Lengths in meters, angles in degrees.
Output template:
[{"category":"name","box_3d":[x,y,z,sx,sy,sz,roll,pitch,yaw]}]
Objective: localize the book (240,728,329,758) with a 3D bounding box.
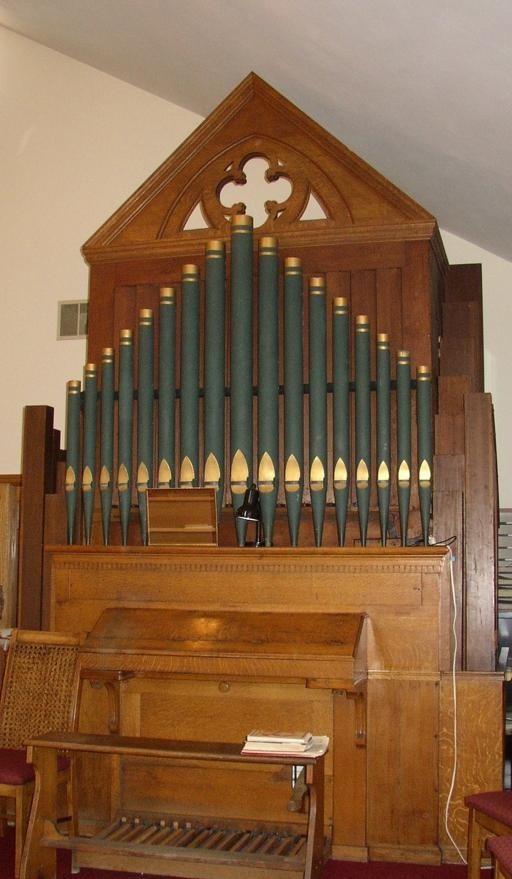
[{"category":"book","box_3d":[0.086,0.904,2.332,0.238,0.065,0.247,0,-7,9]}]
